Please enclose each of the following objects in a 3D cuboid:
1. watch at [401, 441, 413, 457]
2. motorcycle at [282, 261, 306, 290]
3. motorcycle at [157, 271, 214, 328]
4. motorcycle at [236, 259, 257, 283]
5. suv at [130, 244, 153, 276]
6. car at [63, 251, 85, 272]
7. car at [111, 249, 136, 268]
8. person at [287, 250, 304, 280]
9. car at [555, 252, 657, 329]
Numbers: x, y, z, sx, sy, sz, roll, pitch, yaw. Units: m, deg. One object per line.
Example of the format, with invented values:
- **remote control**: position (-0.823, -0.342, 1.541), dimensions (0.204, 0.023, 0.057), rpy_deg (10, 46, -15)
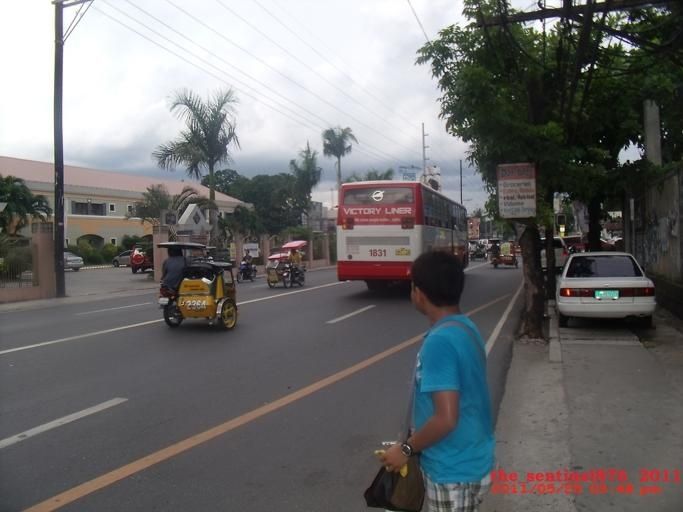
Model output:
- **watch**: position (0.411, 1.223, 3.491), dimensions (0.061, 0.114, 0.093), rpy_deg (5, -5, -39)
- **motorcycle**: position (-2.056, 0.758, 23.375), dimensions (0.576, 1.089, 1.491), rpy_deg (-2, 4, 19)
- **motorcycle**: position (-3.558, 1.065, 12.524), dimensions (1.504, 1.190, 0.614), rpy_deg (-1, 4, 41)
- **motorcycle**: position (-4.893, 0.627, 28.050), dimensions (0.816, 1.263, 1.372), rpy_deg (-4, 3, -7)
- **suv**: position (-14.461, 0.266, 39.905), dimensions (1.337, 1.147, 2.137), rpy_deg (-1, 11, -15)
- **car**: position (-20.911, 0.381, 42.903), dimensions (2.347, 0.912, 1.121), rpy_deg (12, 12, 42)
- **car**: position (-19.341, 0.186, 48.619), dimensions (2.158, 1.358, 1.386), rpy_deg (4, 2, -1)
- **person**: position (-2.081, 0.226, 23.643), dimensions (0.456, 0.818, 1.313), rpy_deg (3, 22, 11)
- **car**: position (5.496, 0.700, 11.672), dimensions (1.196, 1.037, 2.393), rpy_deg (-1, 9, 15)
